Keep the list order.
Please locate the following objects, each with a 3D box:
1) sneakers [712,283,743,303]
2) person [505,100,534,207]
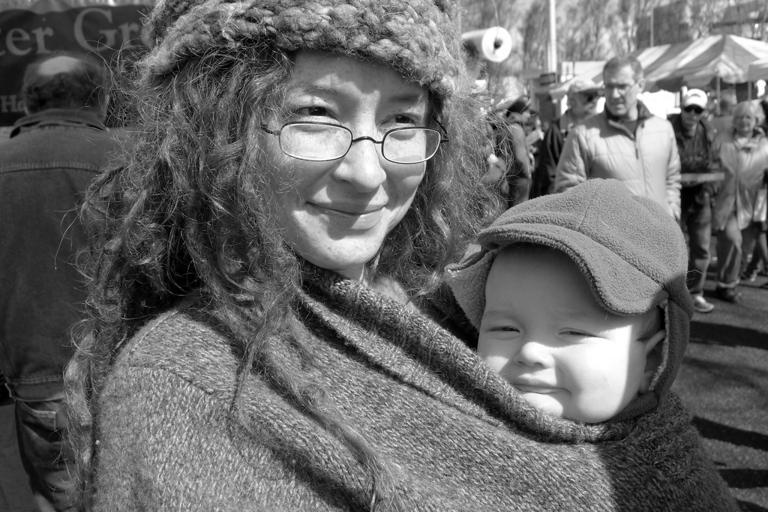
[{"bbox_3d":[3.077,0.321,8.743,0.096,0.157,0.316,-4,4,-2],"label":"sneakers"},{"bbox_3d":[0.996,-0.776,7.298,0.254,0.303,1.006,-19,-35,-5],"label":"person"}]
